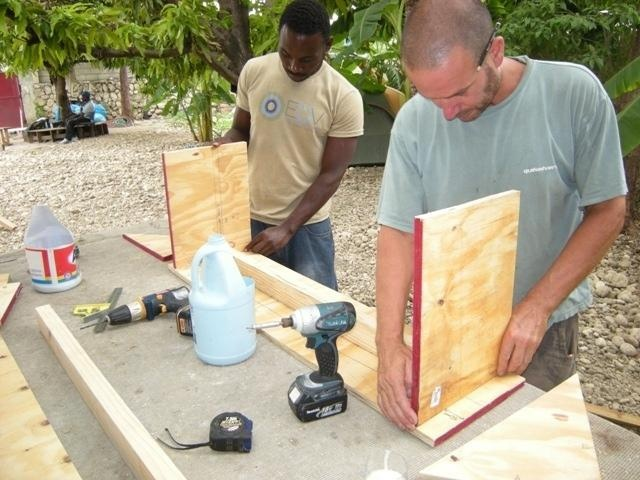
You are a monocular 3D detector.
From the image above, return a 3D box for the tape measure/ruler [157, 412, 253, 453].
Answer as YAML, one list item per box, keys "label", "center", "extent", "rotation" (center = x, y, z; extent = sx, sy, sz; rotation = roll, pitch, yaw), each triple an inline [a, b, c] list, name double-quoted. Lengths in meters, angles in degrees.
- label: "tape measure/ruler"
  center: [-0.382, 0.639, 1.829]
  extent: [0.326, 0.069, 0.124]
  rotation: [-1, 21, 2]

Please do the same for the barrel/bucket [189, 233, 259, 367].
- label: "barrel/bucket"
  center: [-0.362, 0.249, 2.223]
  extent: [0.298, 0.479, 0.298]
  rotation: [0, 16, 0]

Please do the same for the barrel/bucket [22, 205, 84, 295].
- label: "barrel/bucket"
  center: [-1.260, 0.051, 2.662]
  extent: [0.219, 0.452, 0.227]
  rotation: [4, 16, -1]

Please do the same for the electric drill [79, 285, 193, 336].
- label: "electric drill"
  center: [-0.777, 0.299, 2.415]
  extent: [0.268, 0.230, 0.535]
  rotation: [5, 10, 22]
